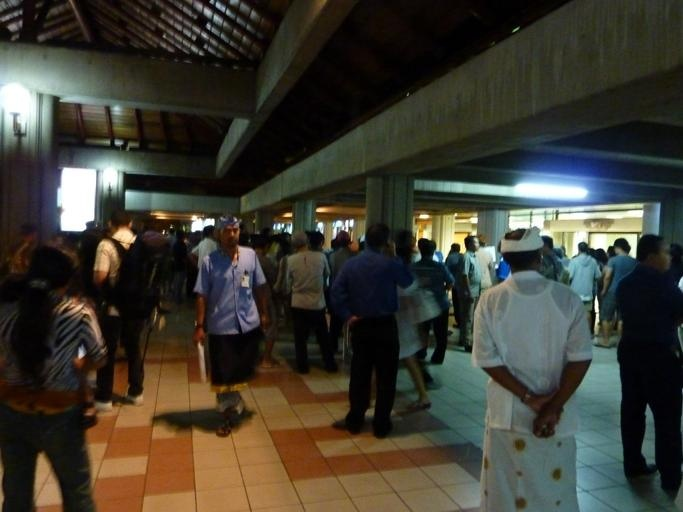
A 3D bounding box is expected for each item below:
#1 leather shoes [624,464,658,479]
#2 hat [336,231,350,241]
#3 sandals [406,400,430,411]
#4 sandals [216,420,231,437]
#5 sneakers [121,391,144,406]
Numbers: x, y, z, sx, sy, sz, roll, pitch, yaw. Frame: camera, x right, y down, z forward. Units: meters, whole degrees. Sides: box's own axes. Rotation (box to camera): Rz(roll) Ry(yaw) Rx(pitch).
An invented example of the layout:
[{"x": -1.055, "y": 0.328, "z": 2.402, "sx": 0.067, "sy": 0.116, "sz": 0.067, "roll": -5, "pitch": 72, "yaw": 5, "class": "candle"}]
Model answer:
[{"x": 2.806, "y": 1.984, "z": 5.384, "sx": 0.351, "sy": 0.117, "sz": 0.090, "roll": -1, "pitch": 7, "yaw": -23, "class": "leather shoes"}, {"x": 0.031, "y": -0.313, "z": 8.676, "sx": 0.116, "sy": 0.141, "sz": 0.148, "roll": 3, "pitch": 7, "yaw": -30, "class": "hat"}, {"x": 0.895, "y": 1.750, "z": 6.785, "sx": 0.277, "sy": 0.121, "sz": 0.111, "roll": 2, "pitch": -3, "yaw": 0, "class": "sandals"}, {"x": -1.219, "y": 1.768, "z": 6.022, "sx": 0.157, "sy": 0.166, "sz": 0.141, "roll": 2, "pitch": 2, "yaw": 44, "class": "sandals"}, {"x": -2.390, "y": 1.620, "z": 6.620, "sx": 0.282, "sy": 0.139, "sz": 0.098, "roll": 6, "pitch": 5, "yaw": 44, "class": "sneakers"}]
